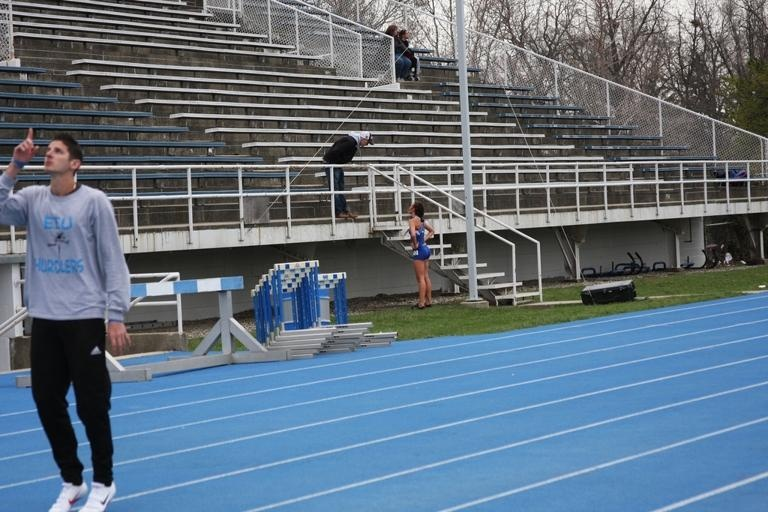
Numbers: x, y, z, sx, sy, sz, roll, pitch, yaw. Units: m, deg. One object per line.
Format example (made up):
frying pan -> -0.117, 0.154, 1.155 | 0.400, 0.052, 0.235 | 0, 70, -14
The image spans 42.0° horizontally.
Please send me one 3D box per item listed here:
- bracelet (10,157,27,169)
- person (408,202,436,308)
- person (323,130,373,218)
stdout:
bracelet -> -3.759, -0.941, 10.227 | 0.112, 0.107, 0.108 | 6, -35, -40
person -> 0.664, -0.013, 19.748 | 0.524, 2.103, 0.807 | 0, 1, 37
person -> -0.751, -1.717, 20.564 | 1.040, 1.897, 0.786 | -4, -7, 18
